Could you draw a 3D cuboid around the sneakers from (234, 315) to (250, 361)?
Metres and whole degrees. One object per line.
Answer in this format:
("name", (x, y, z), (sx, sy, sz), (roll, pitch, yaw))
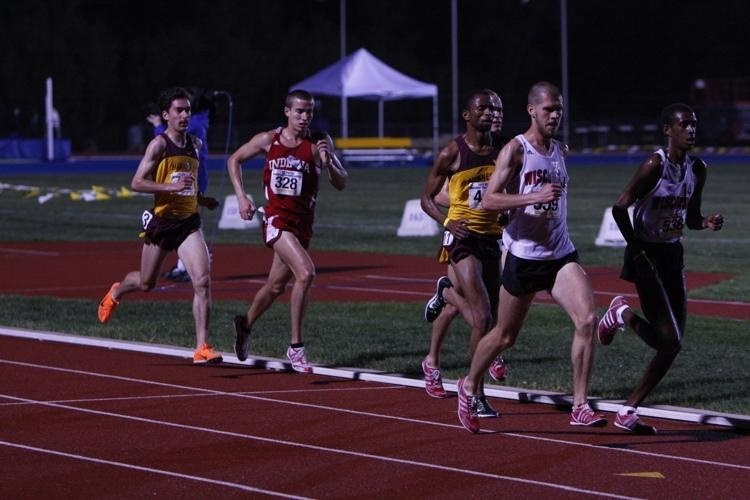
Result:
("sneakers", (-1.168, 0.782, 7.845), (0.175, 0.398, 0.137), (-2, 6, 31))

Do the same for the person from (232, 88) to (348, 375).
("person", (-0.795, -0.173, 7.834), (1.018, 2.473, 0.947), (0, 7, -10))

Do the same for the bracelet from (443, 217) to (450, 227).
("bracelet", (0.549, -0.205, 6.722), (0.049, 0.064, 0.114), (2, 8, 3))

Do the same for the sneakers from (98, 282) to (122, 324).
("sneakers", (-2.869, 0.592, 9.504), (0.159, 0.466, 0.200), (29, -3, -40))

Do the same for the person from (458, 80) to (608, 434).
("person", (1.137, 0.067, 6.178), (1.020, 2.464, 0.632), (2, 7, 4))

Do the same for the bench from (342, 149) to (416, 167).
("bench", (0.092, -3.691, 35.165), (2.414, 0.582, 3.543), (9, 12, 41))

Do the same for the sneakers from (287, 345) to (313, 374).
("sneakers", (-0.645, 0.949, 7.621), (0.134, 0.151, 0.335), (5, 11, -38))

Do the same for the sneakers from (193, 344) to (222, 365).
("sneakers", (-1.506, 0.925, 7.711), (0.327, 0.160, 0.139), (-7, -5, 33))

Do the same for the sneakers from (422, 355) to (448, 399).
("sneakers", (0.469, 1.021, 7.137), (0.132, 0.141, 0.371), (-6, 41, -16))

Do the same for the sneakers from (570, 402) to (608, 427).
("sneakers", (1.494, 1.181, 6.236), (0.122, 0.150, 0.303), (4, -11, -36))

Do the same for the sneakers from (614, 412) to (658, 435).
("sneakers", (1.845, 1.229, 6.247), (0.321, 0.138, 0.126), (5, 13, 19))

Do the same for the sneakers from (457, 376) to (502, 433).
("sneakers", (0.681, 1.109, 6.304), (0.125, 0.374, 0.145), (0, -25, -29))

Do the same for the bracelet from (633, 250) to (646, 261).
("bracelet", (1.840, 0.038, 6.113), (0.085, 0.083, 0.033), (3, 7, 10))

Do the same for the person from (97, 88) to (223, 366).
("person", (-1.917, -0.237, 8.030), (0.922, 2.443, 1.476), (-1, 8, -20))

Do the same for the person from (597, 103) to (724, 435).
("person", (2.020, 0.137, 6.229), (0.792, 2.309, 0.430), (-1, 7, -21))
